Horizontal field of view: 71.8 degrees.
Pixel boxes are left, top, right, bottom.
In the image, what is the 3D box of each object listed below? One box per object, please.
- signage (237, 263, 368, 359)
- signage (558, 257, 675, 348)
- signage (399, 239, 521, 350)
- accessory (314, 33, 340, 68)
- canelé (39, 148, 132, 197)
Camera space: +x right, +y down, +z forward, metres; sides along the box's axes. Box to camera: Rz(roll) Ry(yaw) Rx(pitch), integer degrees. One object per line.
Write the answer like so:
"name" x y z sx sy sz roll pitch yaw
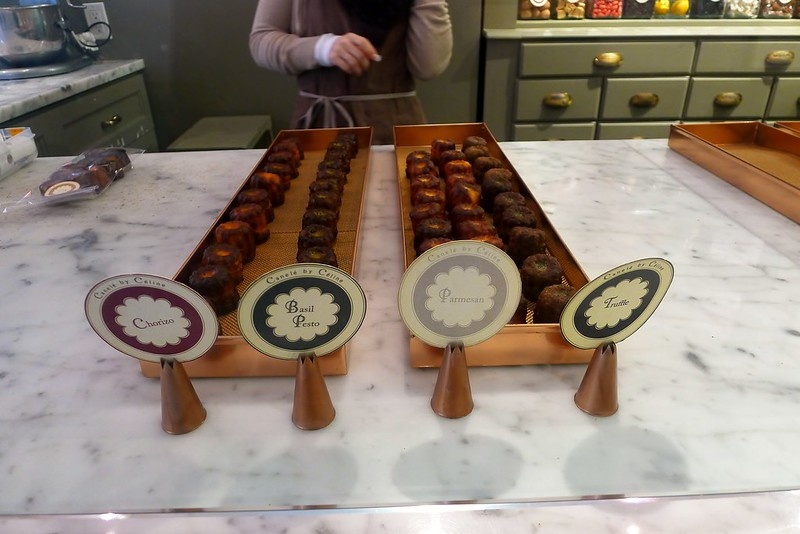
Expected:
"signage" -0.165 0.083 0.949 0.206 0.154 0.003 -3 28 -7
"signage" 0.375 0.063 0.958 0.195 0.162 0.034 -9 34 -15
"signage" 0.106 0.057 0.958 0.241 0.234 0.011 -2 27 -11
"accessory" -0.255 -0.783 2.002 0.104 0.101 0.103 11 38 13
"canelé" -0.925 -0.275 1.632 0.132 0.070 0.214 -8 24 14
